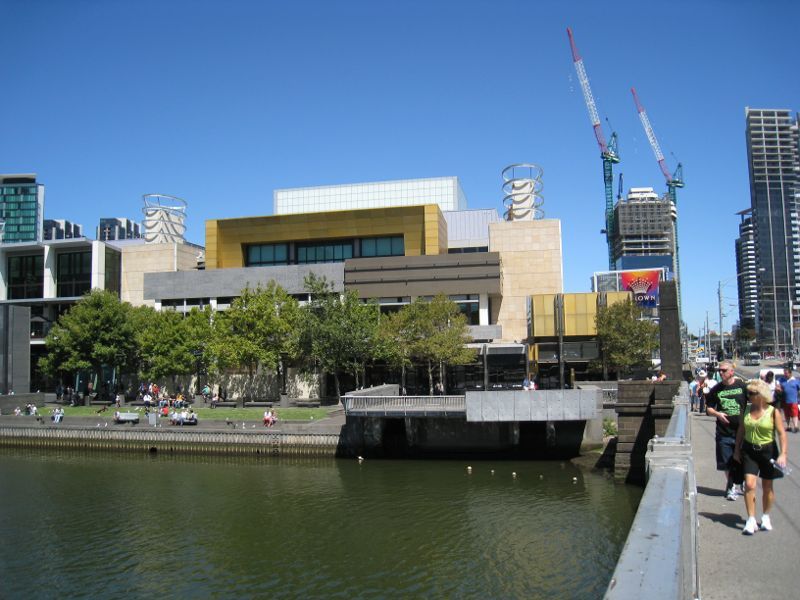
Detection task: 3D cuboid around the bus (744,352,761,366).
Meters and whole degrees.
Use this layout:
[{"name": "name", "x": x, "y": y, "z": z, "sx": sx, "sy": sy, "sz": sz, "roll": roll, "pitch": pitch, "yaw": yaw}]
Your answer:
[{"name": "bus", "x": 49.168, "y": 8.337, "z": 117.307, "sx": 1.644, "sy": 1.596, "sz": 3.161, "roll": -5, "pitch": -14, "yaw": 19}]

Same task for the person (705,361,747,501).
[{"name": "person", "x": 9.884, "y": 3.969, "z": 25.358, "sx": 0.789, "sy": 4.197, "sz": 1.261, "roll": 2, "pitch": -2, "yaw": -2}]
